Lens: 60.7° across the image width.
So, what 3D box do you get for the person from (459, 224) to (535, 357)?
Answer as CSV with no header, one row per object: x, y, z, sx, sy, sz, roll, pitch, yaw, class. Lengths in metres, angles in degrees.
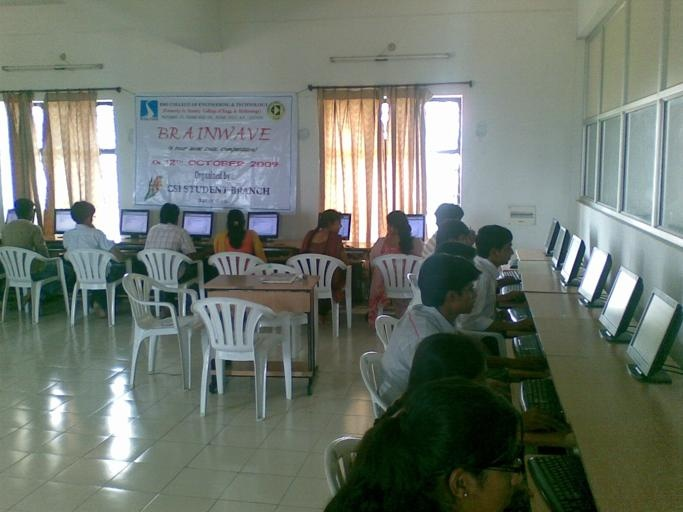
1.069,0.117,3.971,0.727,0.672,0.492,-16,25,-33,person

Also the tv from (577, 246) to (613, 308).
1.747,0.156,4.015,0.116,0.288,0.292,22,25,-6,tv

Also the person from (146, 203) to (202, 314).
-1.818,-0.003,6.241,0.532,1.098,0.593,-1,-9,17,person

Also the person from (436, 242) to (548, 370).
0.768,0.236,3.441,0.665,1.017,0.590,-1,18,7,person

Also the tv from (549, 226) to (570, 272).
1.961,-0.057,5.234,0.130,0.340,0.358,4,9,11,tv

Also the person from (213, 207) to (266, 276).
-1.037,-0.145,6.152,0.468,0.801,0.537,1,20,0,person

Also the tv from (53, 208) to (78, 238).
-3.392,-0.416,7.158,0.383,0.478,0.060,1,1,6,tv

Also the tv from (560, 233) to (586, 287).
1.844,0.043,4.662,0.147,0.358,0.368,7,9,12,tv

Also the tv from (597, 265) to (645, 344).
1.589,0.286,3.315,0.185,0.422,0.339,3,8,8,tv

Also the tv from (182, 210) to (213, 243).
-1.767,-0.358,7.180,0.389,0.431,0.146,1,-1,5,tv

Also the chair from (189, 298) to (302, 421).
-0.618,0.631,4.378,0.753,1.166,0.779,1,8,12,chair

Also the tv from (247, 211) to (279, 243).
-0.935,-0.350,7.043,0.351,0.381,0.119,2,4,3,tv

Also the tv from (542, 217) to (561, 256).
2.167,-0.212,6.000,0.103,0.352,0.335,13,20,9,tv

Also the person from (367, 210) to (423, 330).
0.580,0.148,6.174,0.645,1.412,0.596,16,25,42,person

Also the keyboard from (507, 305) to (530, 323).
1.301,0.431,4.273,0.104,0.117,0.200,-3,-3,19,keyboard

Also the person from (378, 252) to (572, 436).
0.622,0.408,2.807,0.820,0.902,0.411,-6,23,10,person

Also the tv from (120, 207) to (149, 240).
-2.625,-0.413,7.390,0.398,0.453,0.148,1,-3,5,tv

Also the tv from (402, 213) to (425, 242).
0.853,-0.329,6.676,0.326,0.355,0.274,0,1,1,tv

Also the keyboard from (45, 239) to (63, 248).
-3.519,-0.147,7.197,0.163,0.044,0.162,2,10,0,keyboard
